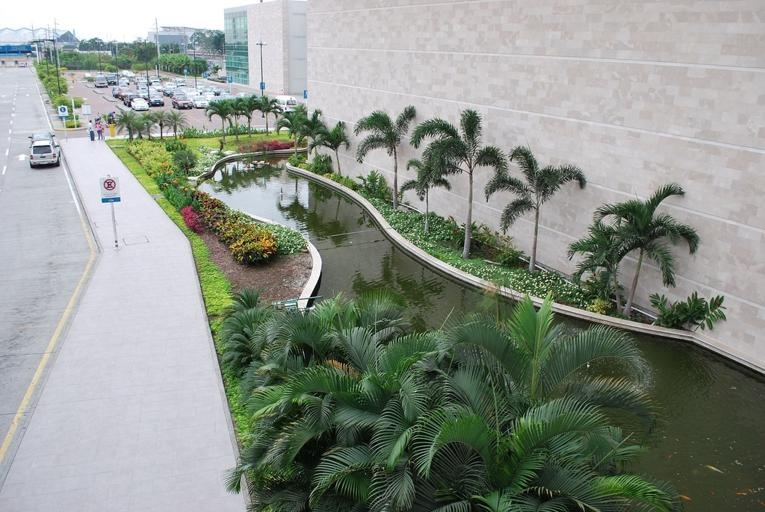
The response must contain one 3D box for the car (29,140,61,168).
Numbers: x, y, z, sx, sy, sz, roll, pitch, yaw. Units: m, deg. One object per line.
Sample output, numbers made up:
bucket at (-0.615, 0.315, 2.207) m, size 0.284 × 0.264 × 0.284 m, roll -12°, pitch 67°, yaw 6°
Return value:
car at (-19.997, -6.077, 28.961) m, size 1.343 × 1.234 × 2.687 m, roll -10°, pitch 33°, yaw -29°
